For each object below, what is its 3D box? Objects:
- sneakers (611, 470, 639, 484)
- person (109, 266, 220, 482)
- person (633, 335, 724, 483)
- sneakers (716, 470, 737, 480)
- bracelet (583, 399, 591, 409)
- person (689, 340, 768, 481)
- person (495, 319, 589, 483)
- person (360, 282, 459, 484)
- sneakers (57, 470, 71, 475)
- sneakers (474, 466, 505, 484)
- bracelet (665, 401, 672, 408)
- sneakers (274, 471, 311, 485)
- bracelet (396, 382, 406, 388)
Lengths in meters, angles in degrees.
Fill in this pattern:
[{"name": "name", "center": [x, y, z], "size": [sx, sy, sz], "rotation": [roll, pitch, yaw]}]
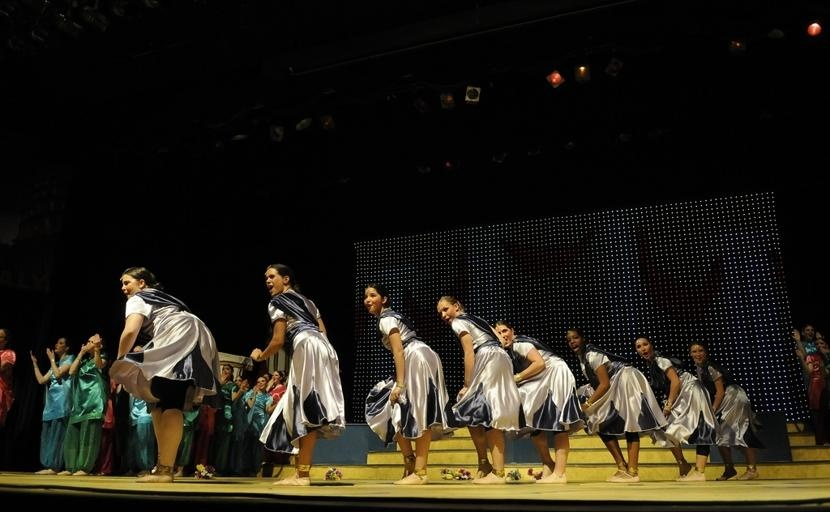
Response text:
[{"name": "sneakers", "center": [3.078, 3.223, 10.071], "size": [0.367, 0.151, 0.196], "rotation": [1, -21, 8]}, {"name": "person", "center": [-3.153, 1.606, 8.764], "size": [1.282, 2.393, 0.407], "rotation": [4, -19, -24]}, {"name": "person", "center": [4.239, 2.540, 11.040], "size": [1.271, 2.373, 0.980], "rotation": [3, -42, 8]}, {"name": "sneakers", "center": [4.977, 3.482, 10.984], "size": [0.321, 0.138, 0.100], "rotation": [-18, -16, 7]}, {"name": "bracelet", "center": [2.628, 2.249, 10.492], "size": [0.150, 0.104, 0.090], "rotation": [-19, 23, -41]}, {"name": "person", "center": [5.179, 2.616, 11.338], "size": [1.093, 2.167, 0.790], "rotation": [10, -40, 11]}, {"name": "person", "center": [1.909, 2.275, 10.274], "size": [1.567, 2.562, 1.038], "rotation": [6, -45, 5]}, {"name": "person", "center": [-0.103, 1.706, 9.367], "size": [1.100, 2.638, 1.014], "rotation": [-2, -17, -5]}, {"name": "sneakers", "center": [-5.768, 3.571, 11.375], "size": [0.148, 0.061, 0.052], "rotation": [1, -43, 9]}, {"name": "sneakers", "center": [1.044, 2.929, 9.241], "size": [0.539, 0.244, 0.189], "rotation": [-8, -18, 33]}, {"name": "bracelet", "center": [3.956, 2.315, 10.723], "size": [0.111, 0.085, 0.113], "rotation": [4, -12, -5]}, {"name": "sneakers", "center": [-1.522, 2.786, 8.634], "size": [0.430, 0.166, 0.208], "rotation": [-1, -18, -11]}, {"name": "bracelet", "center": [-0.179, 1.682, 9.024], "size": [0.098, 0.080, 0.082], "rotation": [1, -18, -14]}]
